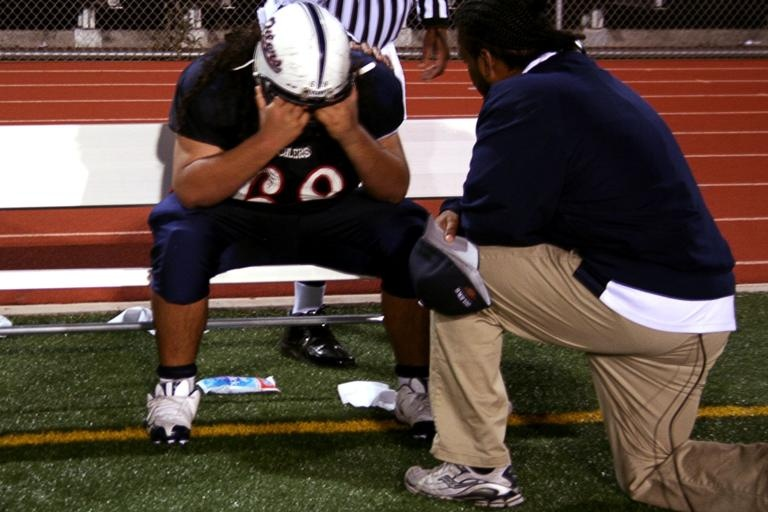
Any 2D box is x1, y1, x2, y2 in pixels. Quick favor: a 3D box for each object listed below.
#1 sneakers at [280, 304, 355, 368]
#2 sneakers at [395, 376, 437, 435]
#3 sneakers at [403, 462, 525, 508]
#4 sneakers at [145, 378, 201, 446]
[{"bbox_3d":[-0.352,0.387,3.690,0.230,0.250,0.612,14,-6,-36],"label":"sneakers"},{"bbox_3d":[0.147,0.596,3.071,0.130,0.143,0.363,0,10,-13],"label":"sneakers"},{"bbox_3d":[0.298,0.820,2.745,0.452,0.180,0.153,5,-3,12],"label":"sneakers"},{"bbox_3d":[-0.865,0.614,3.021,0.220,0.166,0.403,-1,15,-11],"label":"sneakers"}]
